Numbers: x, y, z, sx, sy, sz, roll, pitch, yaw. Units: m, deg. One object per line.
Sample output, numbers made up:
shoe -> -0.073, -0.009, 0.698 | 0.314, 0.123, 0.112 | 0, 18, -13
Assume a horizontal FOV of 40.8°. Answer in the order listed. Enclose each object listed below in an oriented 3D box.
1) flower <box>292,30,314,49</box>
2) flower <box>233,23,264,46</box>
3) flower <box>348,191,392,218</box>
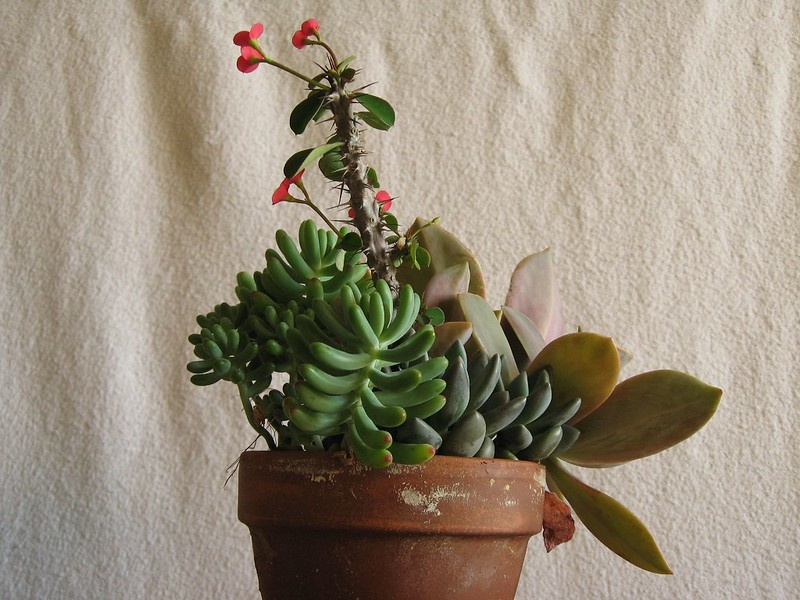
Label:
flower -> -0.097, -0.260, 1.084 | 0.023, 0.019, 0.011 | -24, 12, -37
flower -> -0.148, -0.258, 1.058 | 0.019, 0.023, 0.029 | 16, 46, 10
flower -> -0.027, -0.102, 1.131 | 0.013, 0.035, 0.041 | 2, -3, -41
